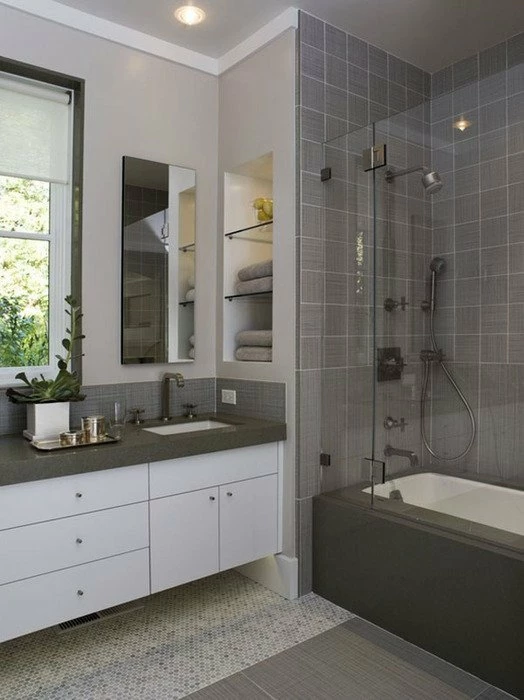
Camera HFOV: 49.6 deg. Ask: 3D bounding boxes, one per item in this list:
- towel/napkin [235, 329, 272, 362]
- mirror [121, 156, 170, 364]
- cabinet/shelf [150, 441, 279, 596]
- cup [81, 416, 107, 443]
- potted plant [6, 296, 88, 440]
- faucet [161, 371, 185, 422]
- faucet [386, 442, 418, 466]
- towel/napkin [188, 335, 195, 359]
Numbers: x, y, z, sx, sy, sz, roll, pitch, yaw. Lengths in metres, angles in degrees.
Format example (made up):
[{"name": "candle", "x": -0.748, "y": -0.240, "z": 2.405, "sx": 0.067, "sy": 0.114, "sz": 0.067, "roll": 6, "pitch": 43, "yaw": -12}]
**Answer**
[{"name": "towel/napkin", "x": -0.035, "y": -0.022, "z": 2.789, "sx": 0.167, "sy": 0.158, "sz": 0.061, "roll": -1, "pitch": 2, "yaw": 39}, {"name": "mirror", "x": -0.538, "y": -0.373, "z": 2.699, "sx": 0.241, "sy": 0.987, "sz": 0.018, "roll": 6, "pitch": 16, "yaw": 8}, {"name": "cabinet/shelf", "x": -0.246, "y": 0.656, "z": 2.437, "sx": 0.648, "sy": 0.549, "sz": 0.283, "roll": -5, "pitch": 6, "yaw": -30}, {"name": "cup", "x": -0.617, "y": 0.300, "z": 2.142, "sx": 0.079, "sy": 0.088, "sz": 0.093, "roll": 3, "pitch": 4, "yaw": 26}, {"name": "potted plant", "x": -0.875, "y": 0.062, "z": 2.292, "sx": 0.297, "sy": 0.552, "sz": 0.567, "roll": -1, "pitch": 1, "yaw": -15}, {"name": "faucet", "x": -0.424, "y": 0.224, "z": 2.658, "sx": 0.097, "sy": 0.227, "sz": 0.309, "roll": -1, "pitch": 1, "yaw": -10}, {"name": "faucet", "x": 0.563, "y": 0.421, "z": 2.278, "sx": 0.048, "sy": 0.058, "sz": 0.135, "roll": -1, "pitch": 2, "yaw": -33}, {"name": "towel/napkin", "x": -0.353, "y": -0.005, "z": 2.872, "sx": 0.035, "sy": 0.089, "sz": 0.095, "roll": -2, "pitch": -3, "yaw": 0}]
